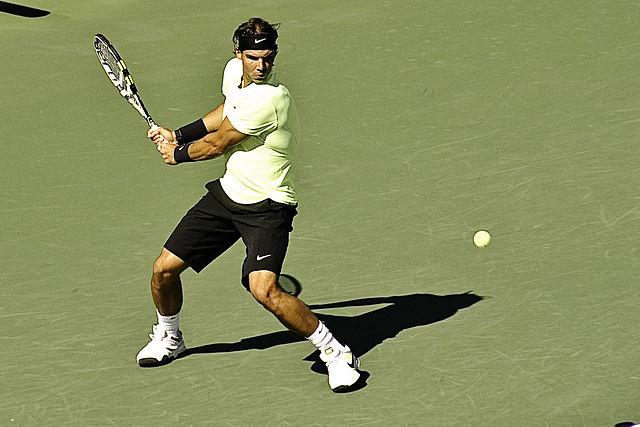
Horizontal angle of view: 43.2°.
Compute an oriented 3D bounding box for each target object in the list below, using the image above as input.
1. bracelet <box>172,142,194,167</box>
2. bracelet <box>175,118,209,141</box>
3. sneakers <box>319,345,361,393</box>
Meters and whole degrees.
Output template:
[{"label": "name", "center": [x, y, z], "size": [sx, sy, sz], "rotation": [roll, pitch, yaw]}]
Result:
[{"label": "bracelet", "center": [-1.183, -0.503, 7.057], "size": [0.182, 0.152, 0.178], "rotation": [-6, 8, 25]}, {"label": "bracelet", "center": [-1.168, -0.741, 7.360], "size": [0.301, 0.122, 0.161], "rotation": [-13, 63, 21]}, {"label": "sneakers", "center": [0.166, 1.248, 7.030], "size": [0.282, 0.247, 0.541], "rotation": [8, 44, -21]}]
